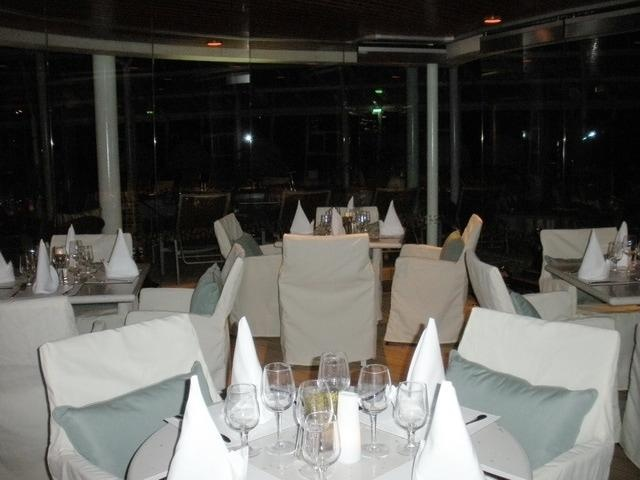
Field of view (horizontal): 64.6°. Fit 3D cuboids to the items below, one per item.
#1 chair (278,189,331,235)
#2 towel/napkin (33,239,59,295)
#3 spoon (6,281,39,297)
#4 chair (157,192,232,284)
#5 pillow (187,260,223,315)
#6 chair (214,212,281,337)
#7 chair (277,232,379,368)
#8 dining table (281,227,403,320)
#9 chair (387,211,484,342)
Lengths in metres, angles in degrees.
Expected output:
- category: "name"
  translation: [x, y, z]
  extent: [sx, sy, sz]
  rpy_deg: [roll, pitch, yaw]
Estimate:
- category: "chair"
  translation: [-0.229, -0.397, 6.939]
  extent: [0.500, 0.715, 0.625]
  rpy_deg: [-7, 17, -5]
- category: "towel/napkin"
  translation: [-1.899, 0.185, 3.498]
  extent: [0.161, 0.354, 0.290]
  rpy_deg: [-7, 7, -28]
- category: "spoon"
  translation: [-2.026, 0.350, 3.446]
  extent: [0.124, 0.023, 0.143]
  rpy_deg: [5, 20, -6]
- category: "chair"
  translation: [-1.437, -0.109, 5.885]
  extent: [0.642, 1.480, 1.011]
  rpy_deg: [-1, 25, -12]
- category: "pillow"
  translation: [-0.816, 0.354, 3.622]
  extent: [0.241, 0.313, 0.295]
  rpy_deg: [-5, 7, -16]
- category: "chair"
  translation: [-0.605, 0.305, 5.268]
  extent: [0.930, 1.361, 0.919]
  rpy_deg: [0, 15, -5]
- category: "chair"
  translation: [0.070, 0.356, 4.312]
  extent: [0.829, 1.358, 0.943]
  rpy_deg: [-1, 22, 1]
- category: "dining table"
  translation: [0.193, 0.092, 4.282]
  extent: [0.852, 0.808, 0.990]
  rpy_deg: [-1, 3, -2]
- category: "chair"
  translation: [1.170, 0.383, 5.505]
  extent: [0.958, 1.656, 1.126]
  rpy_deg: [5, 2, 10]
